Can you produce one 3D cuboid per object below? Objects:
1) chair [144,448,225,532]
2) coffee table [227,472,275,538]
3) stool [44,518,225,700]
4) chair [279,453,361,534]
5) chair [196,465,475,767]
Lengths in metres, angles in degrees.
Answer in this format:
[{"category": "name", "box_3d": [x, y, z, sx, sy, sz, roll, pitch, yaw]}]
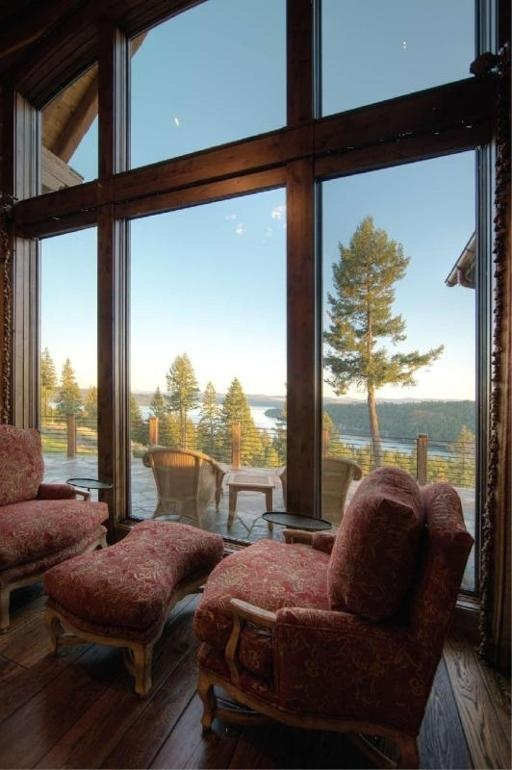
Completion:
[{"category": "chair", "box_3d": [-0.468, 0.631, 3.697, 0.495, 0.642, 0.527, -4, 17, -19]}, {"category": "coffee table", "box_3d": [-0.040, 0.729, 3.469, 0.333, 0.305, 0.357, 5, 3, 31]}, {"category": "stool", "box_3d": [-0.510, 0.918, 2.506, 0.546, 0.441, 0.787, 5, 10, 26]}, {"category": "chair", "box_3d": [0.395, 0.702, 2.945, 0.408, 0.356, 0.481, -7, 39, 22]}, {"category": "chair", "box_3d": [0.359, 0.697, 2.259, 0.972, 1.170, 0.775, 0, -3, 25]}]
